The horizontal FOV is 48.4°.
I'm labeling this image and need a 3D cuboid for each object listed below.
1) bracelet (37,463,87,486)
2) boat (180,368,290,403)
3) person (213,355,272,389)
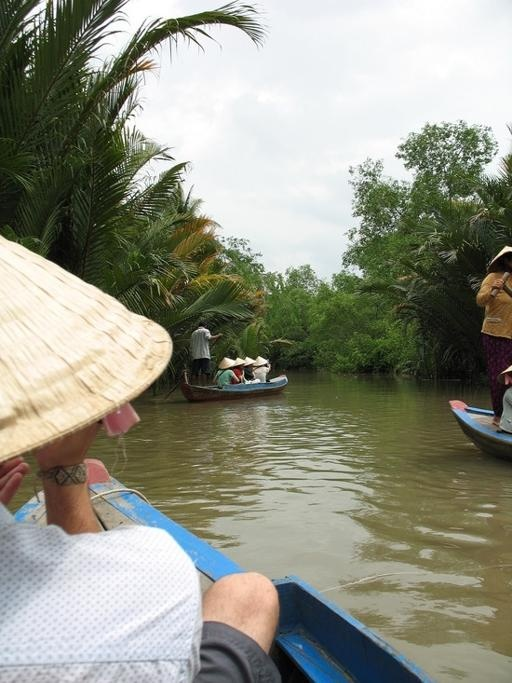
[{"bbox_3d":[-0.383,0.272,1.159,0.067,0.026,0.048,-15,-18,23],"label":"bracelet"},{"bbox_3d":[-0.622,1.242,16.452,0.978,0.817,4.362,7,3,43],"label":"boat"},{"bbox_3d":[-0.556,0.909,17.987,0.707,0.841,2.573,2,4,33],"label":"person"}]
